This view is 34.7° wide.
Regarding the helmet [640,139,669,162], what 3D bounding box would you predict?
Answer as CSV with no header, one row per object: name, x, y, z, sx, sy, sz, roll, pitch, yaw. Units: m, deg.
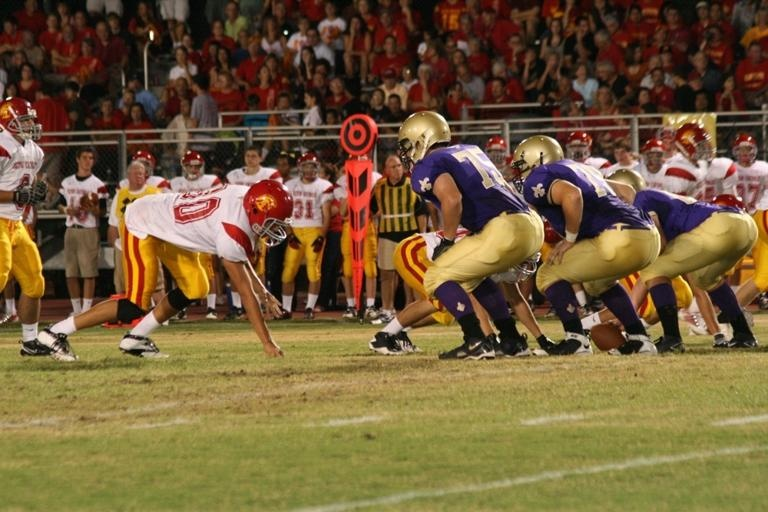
helmet,3.161,-1.232,14.340,0.244,0.236,0.298,-1,0,10

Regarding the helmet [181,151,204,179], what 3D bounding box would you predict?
helmet,-2.261,-1.055,14.526,0.229,0.316,0.279,-1,-1,-9

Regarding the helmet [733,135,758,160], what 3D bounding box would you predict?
helmet,4.293,-1.291,14.577,0.223,0.278,0.318,-1,0,3

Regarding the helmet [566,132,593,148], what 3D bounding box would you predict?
helmet,2.266,-1.347,14.272,0.241,0.193,0.299,-1,0,14

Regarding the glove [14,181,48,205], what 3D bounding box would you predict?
glove,-3.361,-0.585,11.734,0.200,0.238,0.435,-1,0,20

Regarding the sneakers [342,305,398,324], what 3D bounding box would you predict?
sneakers,-0.194,0.708,14.684,0.694,0.267,0.222,-2,2,23

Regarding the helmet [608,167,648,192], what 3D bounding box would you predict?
helmet,2.317,-0.711,11.736,0.346,0.237,0.566,-1,0,10

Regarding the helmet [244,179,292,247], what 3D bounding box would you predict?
helmet,-1.014,-0.373,10.738,0.433,0.563,0.204,-1,-1,-6

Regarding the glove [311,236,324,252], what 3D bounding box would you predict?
glove,-0.802,-0.136,14.909,0.140,0.180,0.104,-1,-1,-11

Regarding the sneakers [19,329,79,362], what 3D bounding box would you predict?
sneakers,-3.070,0.828,11.342,0.720,0.263,0.225,2,-3,9

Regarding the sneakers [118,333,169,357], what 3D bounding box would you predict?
sneakers,-2.259,0.812,11.409,0.552,0.204,0.176,9,21,-20

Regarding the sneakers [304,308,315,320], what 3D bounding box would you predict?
sneakers,-0.907,0.719,14.988,0.108,0.129,0.052,13,-35,-13

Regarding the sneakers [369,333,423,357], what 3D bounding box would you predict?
sneakers,0.081,0.835,11.495,0.542,0.207,0.166,3,9,-11

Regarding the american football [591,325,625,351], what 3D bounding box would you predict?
american football,2.053,0.741,11.310,0.303,0.208,0.246,-4,4,1

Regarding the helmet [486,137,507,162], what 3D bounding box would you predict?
helmet,1.309,-1.213,14.235,0.211,0.324,0.358,-1,0,9

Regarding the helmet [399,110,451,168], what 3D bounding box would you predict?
helmet,0.511,-1.068,11.182,0.580,0.479,0.419,3,11,20

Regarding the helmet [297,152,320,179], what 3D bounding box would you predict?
helmet,-0.920,-1.061,15.014,0.254,0.270,0.324,-1,9,-7

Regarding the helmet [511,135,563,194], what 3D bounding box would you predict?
helmet,1.390,-0.838,11.236,0.461,0.512,0.486,-1,0,13
